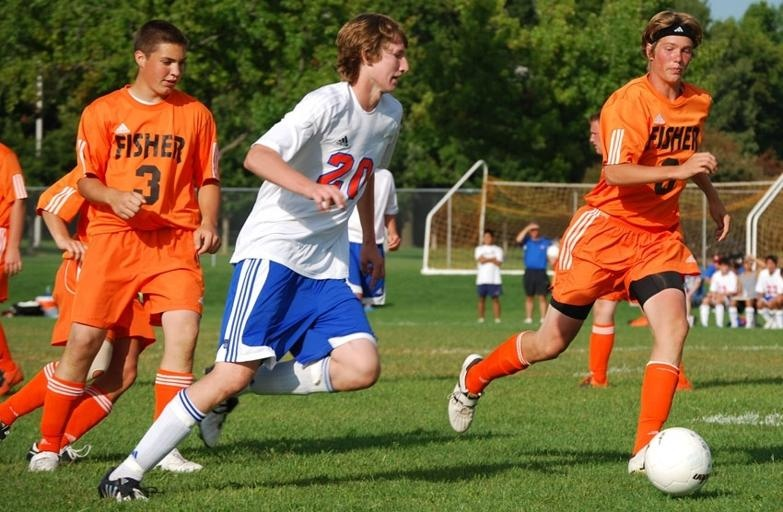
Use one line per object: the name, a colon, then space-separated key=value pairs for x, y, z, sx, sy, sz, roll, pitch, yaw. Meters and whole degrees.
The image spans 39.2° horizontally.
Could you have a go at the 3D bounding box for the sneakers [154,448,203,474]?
sneakers: x=-1.994 y=1.937 z=10.292 sx=0.444 sy=0.194 sz=0.228 roll=0 pitch=0 yaw=12

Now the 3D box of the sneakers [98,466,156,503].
sneakers: x=-2.354 y=2.030 z=9.635 sx=0.475 sy=0.212 sz=0.274 roll=16 pitch=16 yaw=0

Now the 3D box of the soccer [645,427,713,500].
soccer: x=2.532 y=1.861 z=9.915 sx=0.555 sy=0.564 sz=0.643 roll=-10 pitch=-5 yaw=44

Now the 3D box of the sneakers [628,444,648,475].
sneakers: x=2.262 y=1.882 z=10.073 sx=0.092 sy=0.174 sz=0.217 roll=3 pitch=3 yaw=-25
